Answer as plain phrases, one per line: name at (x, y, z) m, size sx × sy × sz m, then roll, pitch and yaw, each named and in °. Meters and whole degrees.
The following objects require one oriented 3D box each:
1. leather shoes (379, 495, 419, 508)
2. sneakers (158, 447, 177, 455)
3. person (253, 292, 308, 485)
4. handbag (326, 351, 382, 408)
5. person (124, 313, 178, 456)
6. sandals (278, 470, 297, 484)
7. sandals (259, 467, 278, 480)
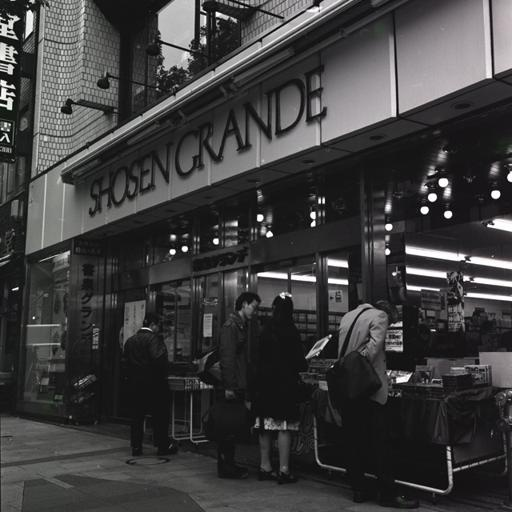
leather shoes at (1.153, 1.969, 5.337) m, size 0.311 × 0.094 × 0.079 m, roll -1°, pitch -7°, yaw 11°
sneakers at (-1.029, 2.243, 7.670) m, size 0.106 × 0.048 × 0.152 m, roll -4°, pitch -9°, yaw 35°
person at (0.215, 1.212, 6.149) m, size 0.289 × 1.724 × 0.521 m, roll 6°, pitch -9°, yaw -42°
handbag at (0.821, 1.016, 5.440) m, size 0.300 × 0.312 × 0.181 m, roll -31°, pitch -26°, yaw 3°
person at (-1.231, 1.561, 7.623) m, size 0.613 × 1.450 × 0.287 m, roll 2°, pitch -7°, yaw -13°
sandals at (0.277, 2.029, 6.107) m, size 0.216 × 0.105 × 0.073 m, roll 5°, pitch -5°, yaw -42°
sandals at (0.106, 2.029, 6.229) m, size 0.196 × 0.108 × 0.079 m, roll 1°, pitch -2°, yaw -24°
